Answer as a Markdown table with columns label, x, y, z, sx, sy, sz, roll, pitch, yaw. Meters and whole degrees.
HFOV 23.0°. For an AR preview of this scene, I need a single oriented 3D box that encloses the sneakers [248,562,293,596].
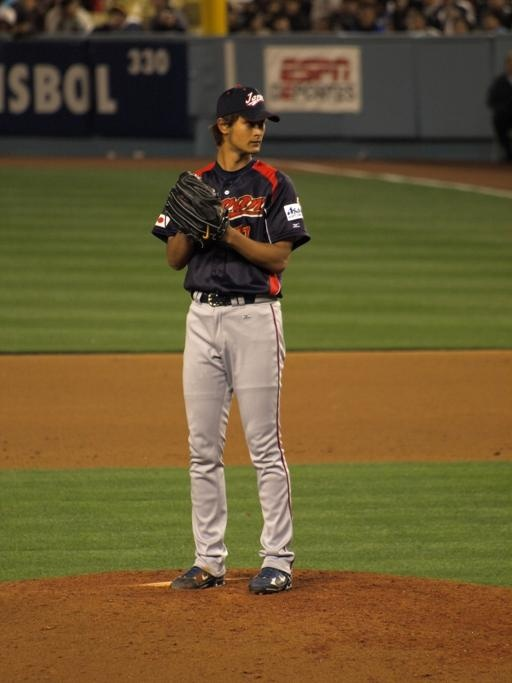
| label | x | y | z | sx | sy | sz | roll | pitch | yaw |
| --- | --- | --- | --- | --- | --- | --- | --- | --- | --- |
| sneakers | 0.070 | 0.819 | 4.362 | 0.095 | 0.101 | 0.234 | 6 | 12 | 28 |

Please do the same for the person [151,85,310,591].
| label | x | y | z | sx | sy | sz | roll | pitch | yaw |
| --- | --- | --- | --- | --- | --- | --- | --- | --- | --- |
| person | -0.066 | 0.028 | 4.406 | 0.546 | 1.827 | 0.631 | -2 | 13 | -4 |

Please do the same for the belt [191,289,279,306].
| label | x | y | z | sx | sy | sz | roll | pitch | yaw |
| --- | --- | --- | --- | --- | --- | --- | --- | --- | --- |
| belt | -0.079 | -0.155 | 4.362 | 0.296 | 0.049 | 0.129 | 1 | 10 | 7 |

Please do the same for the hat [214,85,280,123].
| label | x | y | z | sx | sy | sz | roll | pitch | yaw |
| --- | --- | --- | --- | --- | --- | --- | --- | --- | --- |
| hat | -0.032 | -0.832 | 4.421 | 0.209 | 0.108 | 0.129 | 4 | 9 | 35 |

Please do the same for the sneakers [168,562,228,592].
| label | x | y | z | sx | sy | sz | roll | pitch | yaw |
| --- | --- | --- | --- | --- | --- | --- | --- | --- | --- |
| sneakers | -0.193 | 0.821 | 4.398 | 0.193 | 0.069 | 0.070 | 2 | 1 | -9 |

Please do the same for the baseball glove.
| label | x | y | z | sx | sy | sz | roll | pitch | yaw |
| --- | --- | --- | --- | --- | --- | --- | --- | --- | --- |
| baseball glove | -0.198 | -0.457 | 4.307 | 0.128 | 0.233 | 0.252 | -8 | 13 | -31 |
